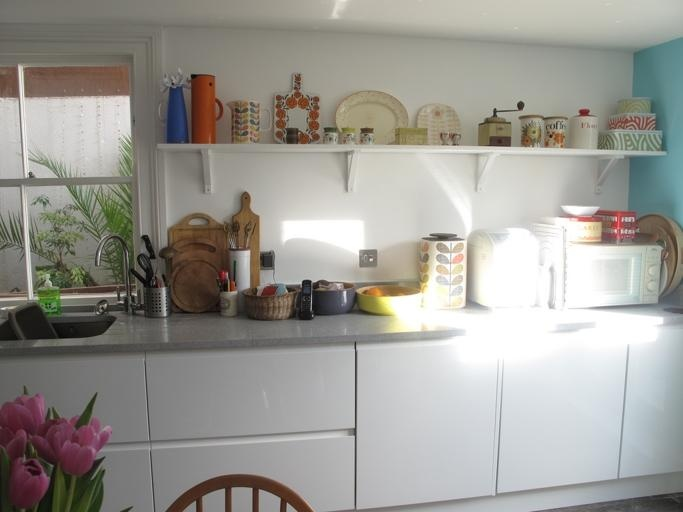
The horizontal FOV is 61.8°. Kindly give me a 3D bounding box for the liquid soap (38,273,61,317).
[{"bbox_3d":[-1.623,0.208,3.163,0.119,0.213,0.213,-5,7,-27],"label":"liquid soap"}]

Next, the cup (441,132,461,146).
[{"bbox_3d":[0.634,-0.662,3.259,0.114,0.075,0.077,-5,10,-24],"label":"cup"}]

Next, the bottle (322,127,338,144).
[{"bbox_3d":[-0.064,-0.660,3.184,0.089,0.099,0.090,-2,6,-21],"label":"bottle"}]

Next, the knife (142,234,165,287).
[{"bbox_3d":[-1.031,0.020,3.109,0.044,0.281,0.083,-10,-5,-43],"label":"knife"}]

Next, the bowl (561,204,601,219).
[{"bbox_3d":[1.392,-0.263,3.320,0.189,0.059,0.326,1,7,25],"label":"bowl"}]

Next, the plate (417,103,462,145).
[{"bbox_3d":[0.568,-0.786,3.351,0.222,0.279,0.047,1,-1,-12],"label":"plate"}]

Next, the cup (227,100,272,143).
[{"bbox_3d":[-0.522,-0.714,3.086,0.157,0.222,0.107,-3,6,-17],"label":"cup"}]

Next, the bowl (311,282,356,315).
[{"bbox_3d":[-0.045,0.220,3.098,0.285,0.172,0.181,-4,7,-20],"label":"bowl"}]

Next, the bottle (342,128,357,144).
[{"bbox_3d":[0.037,-0.661,3.207,0.093,0.103,0.095,0,3,-13],"label":"bottle"}]

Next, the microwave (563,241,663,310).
[{"bbox_3d":[1.460,0.098,3.119,0.583,0.389,0.340,-1,2,-9],"label":"microwave"}]

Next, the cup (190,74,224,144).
[{"bbox_3d":[-0.724,-0.790,3.102,0.215,0.373,0.183,-6,8,-37],"label":"cup"}]

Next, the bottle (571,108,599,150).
[{"bbox_3d":[1.407,-0.728,3.313,0.155,0.223,0.134,0,6,17],"label":"bottle"}]

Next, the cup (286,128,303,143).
[{"bbox_3d":[-0.272,-0.667,3.179,0.078,0.098,0.165,-1,6,2],"label":"cup"}]

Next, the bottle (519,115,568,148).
[{"bbox_3d":[1.160,-0.684,3.281,0.206,0.150,0.208,1,7,0],"label":"bottle"}]

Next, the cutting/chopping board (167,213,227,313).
[{"bbox_3d":[-0.802,0.034,3.185,0.331,0.534,0.180,-3,6,-16],"label":"cutting/chopping board"}]

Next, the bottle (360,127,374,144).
[{"bbox_3d":[0.138,-0.659,3.168,0.083,0.095,0.085,0,3,2],"label":"bottle"}]
